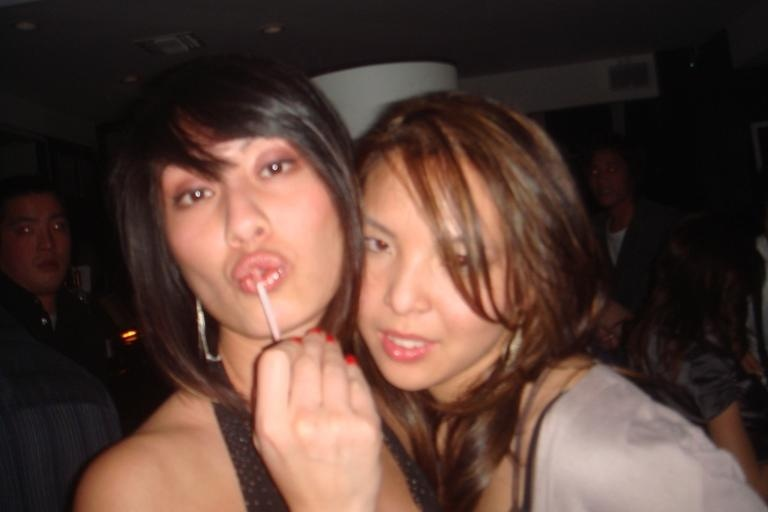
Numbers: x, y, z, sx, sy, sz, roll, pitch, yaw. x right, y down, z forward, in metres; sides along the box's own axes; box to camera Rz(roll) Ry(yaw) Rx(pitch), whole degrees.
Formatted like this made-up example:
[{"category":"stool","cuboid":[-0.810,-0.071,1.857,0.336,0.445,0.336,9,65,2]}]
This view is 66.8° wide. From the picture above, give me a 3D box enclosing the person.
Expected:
[{"category":"person","cuboid":[-0.098,0.079,1.917,1.265,1.627,0.734,-18,37,35]}]
